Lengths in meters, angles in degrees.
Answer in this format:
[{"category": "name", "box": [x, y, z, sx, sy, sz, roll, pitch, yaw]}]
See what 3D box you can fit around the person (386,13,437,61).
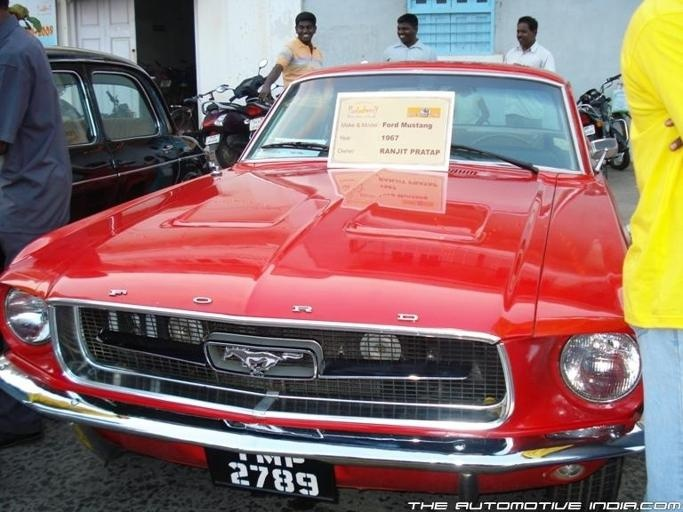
[{"category": "person", "box": [0.929, -2.903, 7.623, 0.803, 0.598, 0.425, 12, 25, 32]}]
